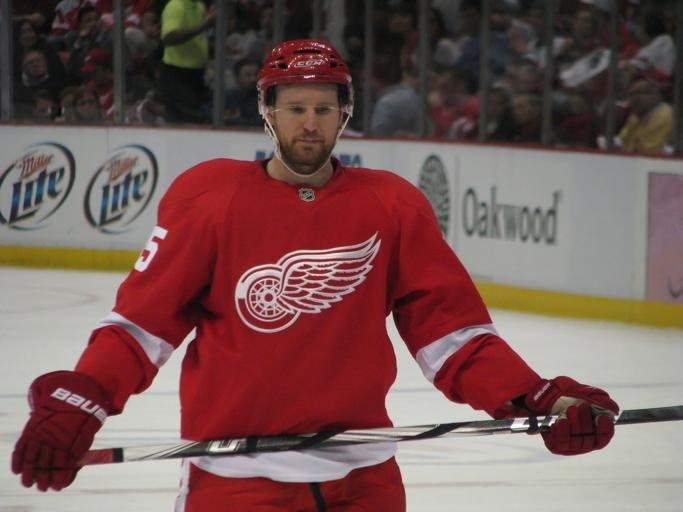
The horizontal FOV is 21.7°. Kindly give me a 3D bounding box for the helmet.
[{"bbox_3d":[-0.176,-0.819,8.584,0.399,0.487,0.516,-1,9,0],"label":"helmet"}]
